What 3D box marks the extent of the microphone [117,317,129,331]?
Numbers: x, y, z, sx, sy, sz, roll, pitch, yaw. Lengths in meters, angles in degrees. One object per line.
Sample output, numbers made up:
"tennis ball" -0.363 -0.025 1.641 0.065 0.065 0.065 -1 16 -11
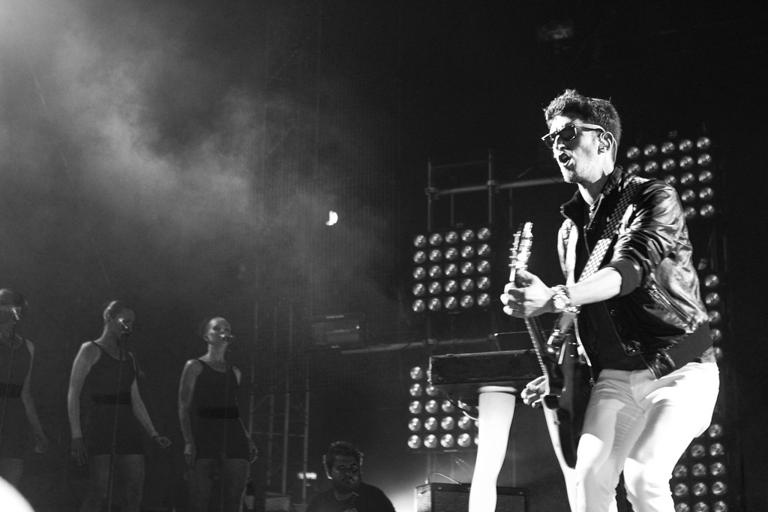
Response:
"microphone" -2.435 0.623 8.605 0.038 0.072 0.113 -24 -76 49
